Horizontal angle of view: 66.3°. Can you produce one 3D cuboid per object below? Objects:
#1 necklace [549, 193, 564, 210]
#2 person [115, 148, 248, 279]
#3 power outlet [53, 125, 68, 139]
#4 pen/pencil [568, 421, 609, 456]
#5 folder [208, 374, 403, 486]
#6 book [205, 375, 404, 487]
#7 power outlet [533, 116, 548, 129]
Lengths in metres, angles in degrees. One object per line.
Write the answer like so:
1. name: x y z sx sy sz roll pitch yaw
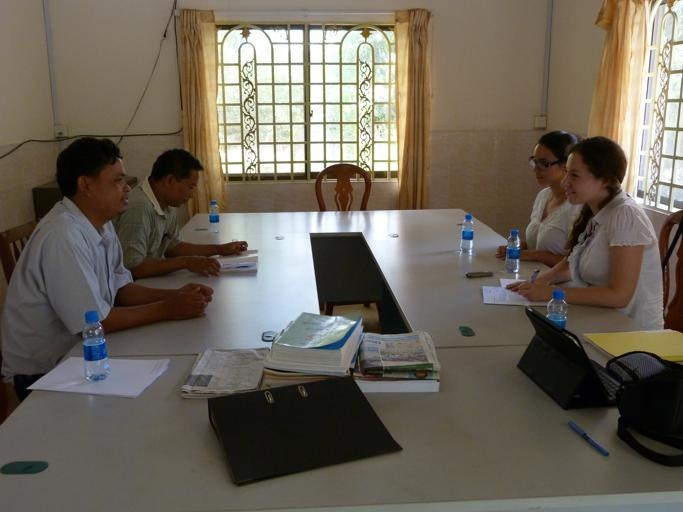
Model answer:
1. necklace: 1.328 -0.331 3.230 0.055 0.076 0.079 0 8 7
2. person: -0.910 -0.268 2.975 0.755 0.752 0.564 1 20 -11
3. power outlet: -2.712 -1.207 5.105 0.128 0.140 0.136 2 23 -4
4. pen/pencil: 0.693 0.519 1.476 0.027 0.027 0.137 -1 22 -17
5. folder: -0.119 0.498 1.465 0.326 0.098 0.265 -5 25 -17
6. book: -0.118 0.514 1.515 0.482 0.112 0.373 -2 15 -28
7. power outlet: 2.098 -1.408 5.512 0.116 0.129 0.124 -8 19 -12
